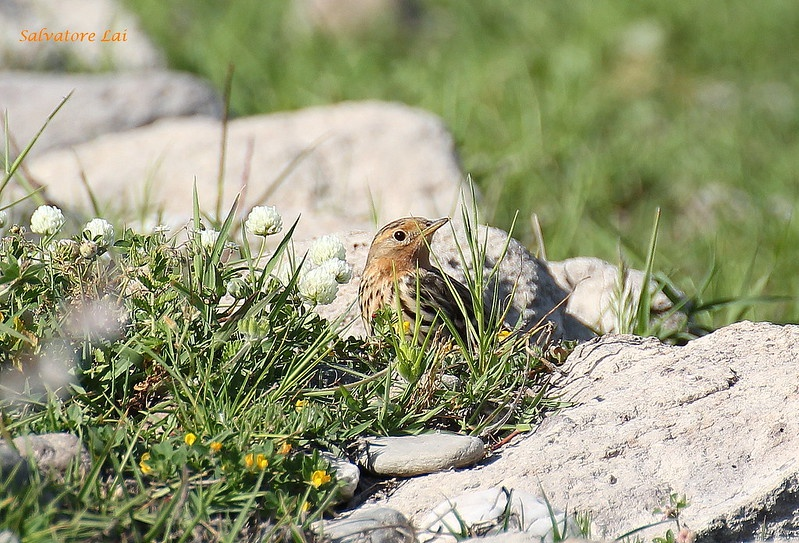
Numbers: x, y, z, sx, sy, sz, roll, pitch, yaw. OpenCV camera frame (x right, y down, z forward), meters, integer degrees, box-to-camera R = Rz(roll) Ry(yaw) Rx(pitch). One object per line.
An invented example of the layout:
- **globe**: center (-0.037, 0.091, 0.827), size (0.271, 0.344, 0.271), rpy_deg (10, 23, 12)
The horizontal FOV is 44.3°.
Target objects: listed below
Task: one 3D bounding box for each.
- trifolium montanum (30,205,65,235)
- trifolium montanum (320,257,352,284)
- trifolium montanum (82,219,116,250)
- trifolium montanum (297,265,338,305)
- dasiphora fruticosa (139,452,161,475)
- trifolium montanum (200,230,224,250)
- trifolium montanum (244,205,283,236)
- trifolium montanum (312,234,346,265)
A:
- **trifolium montanum**: center (-1.526, -0.224, 4.243), size (0.122, 0.138, 0.131), rpy_deg (-2, 4, -20)
- **trifolium montanum**: center (-0.269, -0.007, 4.207), size (0.105, 0.113, 0.110), rpy_deg (17, -13, -10)
- **trifolium montanum**: center (-1.305, -0.157, 4.249), size (0.105, 0.124, 0.137), rpy_deg (12, 3, -20)
- **trifolium montanum**: center (-0.341, 0.061, 4.082), size (0.143, 0.155, 0.148), rpy_deg (1, -7, 6)
- **dasiphora fruticosa**: center (-0.962, 0.731, 3.764), size (0.032, 0.087, 0.074), rpy_deg (5, -25, -3)
- **trifolium montanum**: center (-0.832, -0.137, 4.307), size (0.077, 0.103, 0.220), rpy_deg (-8, 19, -8)
- **trifolium montanum**: center (-0.579, -0.213, 4.292), size (0.149, 0.161, 0.149), rpy_deg (-7, -7, 42)
- **trifolium montanum**: center (-0.317, -0.090, 4.392), size (0.124, 0.143, 0.129), rpy_deg (1, 17, 6)
